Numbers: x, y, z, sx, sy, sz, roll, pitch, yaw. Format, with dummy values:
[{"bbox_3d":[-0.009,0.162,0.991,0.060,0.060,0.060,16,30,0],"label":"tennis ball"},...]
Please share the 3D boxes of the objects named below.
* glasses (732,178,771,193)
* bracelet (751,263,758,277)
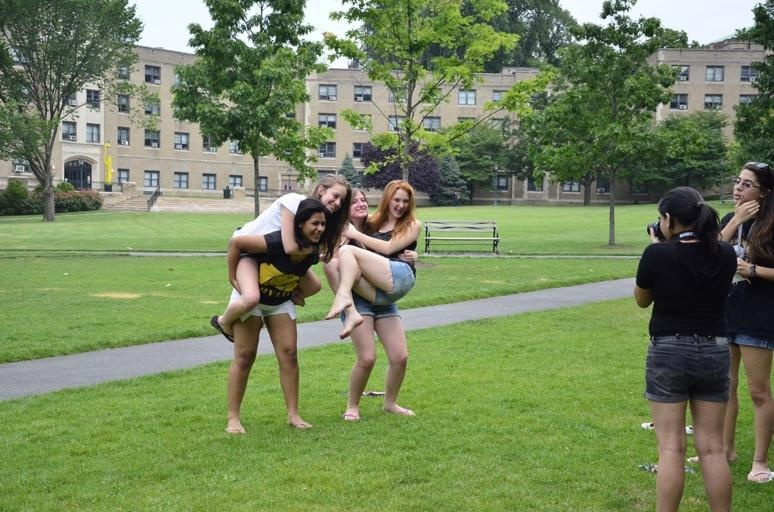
[{"bbox_3d":[3.785,-0.738,7.370,0.234,0.064,0.213,12,-1,-10],"label":"glasses"},{"bbox_3d":[3.727,0.152,7.148,0.066,0.093,0.105,2,-7,17],"label":"bracelet"}]
